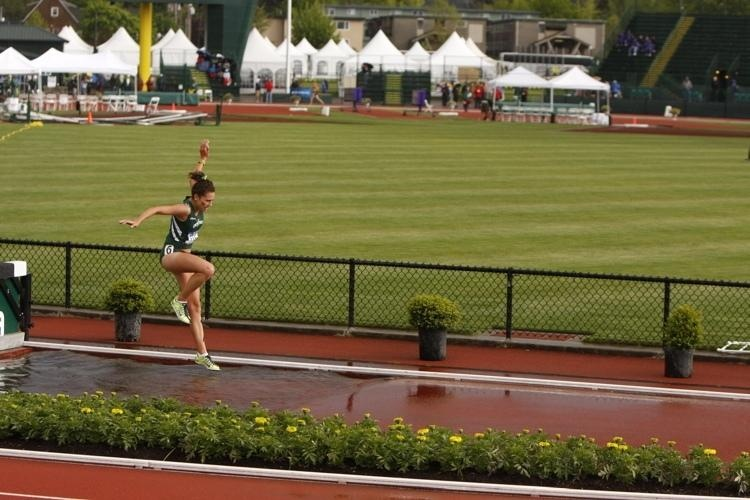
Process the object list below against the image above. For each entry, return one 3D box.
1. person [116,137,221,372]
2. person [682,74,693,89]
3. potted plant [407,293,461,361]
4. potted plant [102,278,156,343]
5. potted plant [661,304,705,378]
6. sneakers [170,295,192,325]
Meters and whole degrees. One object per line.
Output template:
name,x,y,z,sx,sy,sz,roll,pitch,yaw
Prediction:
person,-3.580,0.353,27.802,1.194,3.781,0.794,0,12,-3
person,17.757,-9.907,82.892,0.514,0.487,0.902,5,28,9
potted plant,1.110,1.479,29.132,1.109,1.233,0.973,-4,-7,30
potted plant,-4.962,1.171,29.798,1.136,1.297,1.188,2,3,-19
potted plant,5.981,1.730,28.527,0.777,1.390,0.752,5,3,6
sneakers,-3.770,1.142,28.494,0.288,0.657,0.246,-23,5,28
